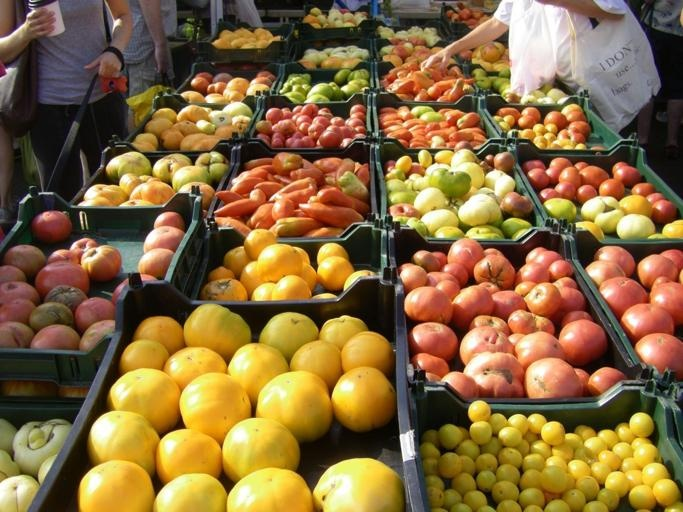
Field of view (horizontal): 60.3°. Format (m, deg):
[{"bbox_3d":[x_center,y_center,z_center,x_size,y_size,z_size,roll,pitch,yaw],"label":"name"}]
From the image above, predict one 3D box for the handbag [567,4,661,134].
[{"bbox_3d":[2.267,-1.560,4.905,0.868,0.949,0.224,3,23,-2],"label":"handbag"}]
